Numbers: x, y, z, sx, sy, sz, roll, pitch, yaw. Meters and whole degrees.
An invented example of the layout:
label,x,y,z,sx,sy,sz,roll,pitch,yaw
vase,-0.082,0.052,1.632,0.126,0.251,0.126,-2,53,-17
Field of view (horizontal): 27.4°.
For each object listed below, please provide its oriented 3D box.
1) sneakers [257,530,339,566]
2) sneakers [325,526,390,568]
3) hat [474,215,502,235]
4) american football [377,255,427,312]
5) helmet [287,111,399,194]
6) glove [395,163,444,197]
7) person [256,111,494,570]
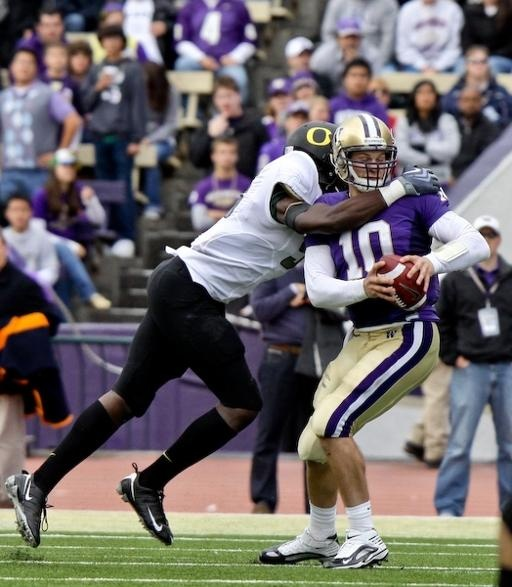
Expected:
label,x,y,z,sx,sy,sz,roll,pitch,yaw
sneakers,0.177,1.037,4.255,0.387,0.131,0.118,1,-4,-5
sneakers,0.396,0.983,4.080,0.314,0.125,0.099,-5,1,-20
hat,1.491,-0.464,6.829,0.210,0.140,0.306,2,-7,12
american football,0.545,-0.037,4.000,0.214,0.162,0.158,40,-8,-12
helmet,0.361,-0.558,4.271,0.312,0.219,0.481,16,5,-37
glove,0.640,-0.434,4.072,0.158,0.046,0.110,6,41,-26
person,0.416,0.238,4.081,0.709,1.826,0.642,9,17,27
